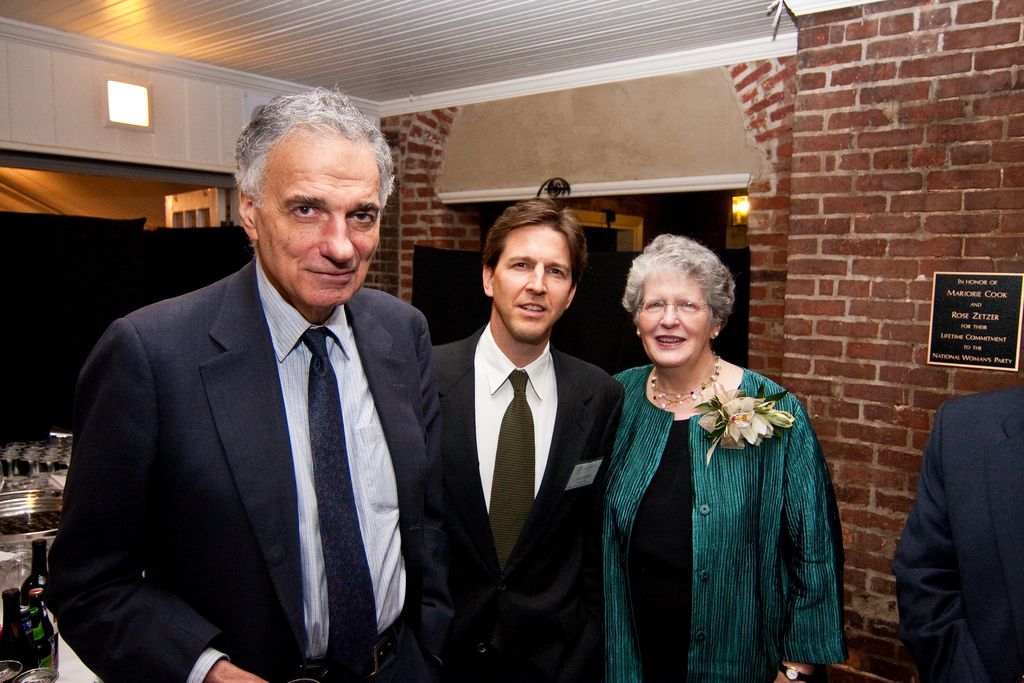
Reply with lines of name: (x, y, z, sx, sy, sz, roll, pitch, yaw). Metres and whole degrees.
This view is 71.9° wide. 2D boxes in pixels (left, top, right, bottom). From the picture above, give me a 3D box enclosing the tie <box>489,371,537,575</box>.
tie: (0.012, 0.468, 2.669, 0.147, 0.704, 0.245, 1, 8, 21)
